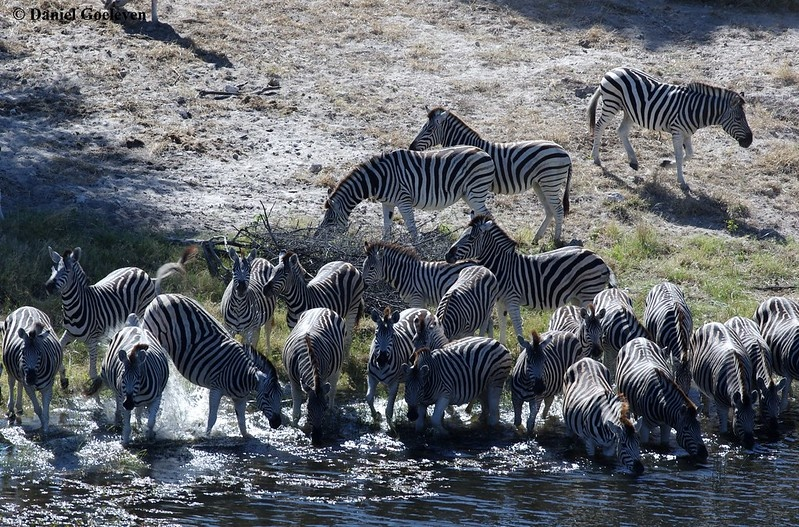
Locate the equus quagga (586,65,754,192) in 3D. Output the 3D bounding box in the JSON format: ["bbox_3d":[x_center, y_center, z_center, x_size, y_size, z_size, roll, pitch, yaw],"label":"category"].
[{"bbox_3d":[5.879,-2.827,28.634,3.036,0.902,2.242,22,-49,22],"label":"equus quagga"}]
